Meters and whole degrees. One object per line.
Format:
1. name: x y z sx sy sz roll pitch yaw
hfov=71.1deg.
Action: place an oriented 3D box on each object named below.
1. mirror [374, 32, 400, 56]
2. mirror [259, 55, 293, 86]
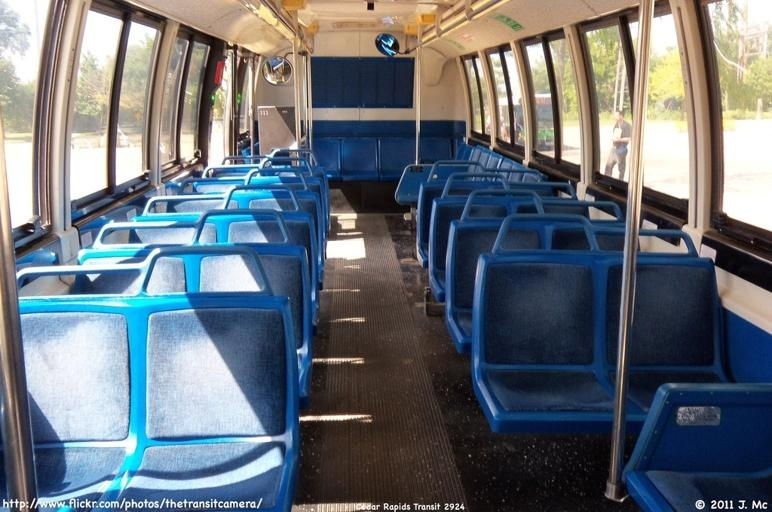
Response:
1. mirror: 0.016 -4.933 12.488 0.467 0.537 1.056 -1 13 -5
2. mirror: -2.456 -4.199 12.216 0.862 0.888 0.216 3 47 -15
